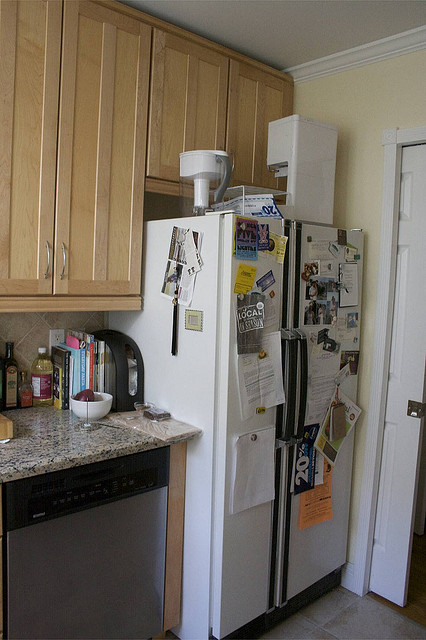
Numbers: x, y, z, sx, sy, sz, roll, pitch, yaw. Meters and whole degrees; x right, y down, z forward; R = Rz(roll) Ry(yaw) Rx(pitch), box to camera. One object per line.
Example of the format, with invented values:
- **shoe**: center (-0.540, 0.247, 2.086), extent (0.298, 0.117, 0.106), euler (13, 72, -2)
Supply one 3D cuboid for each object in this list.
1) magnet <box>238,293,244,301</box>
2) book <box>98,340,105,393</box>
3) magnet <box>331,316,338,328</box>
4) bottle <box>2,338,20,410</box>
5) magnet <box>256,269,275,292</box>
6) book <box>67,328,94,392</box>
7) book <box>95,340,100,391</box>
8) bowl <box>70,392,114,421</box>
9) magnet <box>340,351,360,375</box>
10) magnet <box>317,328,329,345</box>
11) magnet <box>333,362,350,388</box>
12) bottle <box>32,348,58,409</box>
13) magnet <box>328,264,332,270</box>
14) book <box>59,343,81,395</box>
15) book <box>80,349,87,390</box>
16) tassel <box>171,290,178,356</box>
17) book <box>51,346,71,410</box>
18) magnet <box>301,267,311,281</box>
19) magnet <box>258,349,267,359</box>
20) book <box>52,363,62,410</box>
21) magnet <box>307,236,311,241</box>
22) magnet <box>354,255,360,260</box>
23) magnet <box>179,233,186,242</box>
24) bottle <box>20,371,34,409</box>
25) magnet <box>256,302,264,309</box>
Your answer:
- **magnet**: center (0.092, -0.076, 1.679), extent (0.004, 0.021, 0.018), euler (6, -4, 35)
- **book**: center (-0.446, 0.185, 2.032), extent (0.035, 0.206, 0.013), euler (2, 7, 22)
- **magnet**: center (0.501, 0.009, 2.108), extent (0.012, 0.035, 0.038), euler (11, -31, 4)
- **bottle**: center (-0.782, 0.218, 1.986), extent (0.055, 0.263, 0.082), euler (5, 9, 43)
- **magnet**: center (0.178, -0.137, 1.760), extent (0.059, 0.044, 0.008), euler (-35, 24, -29)
- **book**: center (-0.525, 0.168, 2.026), extent (0.100, 0.214, 0.195), euler (3, 0, -26)
- **book**: center (-0.458, 0.183, 2.033), extent (0.025, 0.203, 0.011), euler (2, 7, 22)
- **bowl**: center (-0.434, 0.313, 1.873), extent (0.107, 0.074, 0.109), euler (3, 3, 0)
- **magnet**: center (0.591, 0.183, 2.225), extent (0.091, 0.100, 0.029), euler (-5, 7, -44)
- **magnet**: center (0.440, 0.062, 2.051), extent (0.023, 0.052, 0.067), euler (14, 8, 36)
- **magnet**: center (0.555, 0.236, 2.190), extent (0.023, 0.066, 0.099), euler (18, 47, 44)
- **bottle**: center (-0.689, 0.228, 2.092), extent (0.097, 0.238, 0.134), euler (-4, 7, -23)
- **magnet**: center (0.472, -0.214, 2.062), extent (0.004, 0.019, 0.017), euler (7, 5, 35)
- **book**: center (-0.563, 0.201, 2.017), extent (0.090, 0.180, 0.170), euler (6, -1, -28)
- **book**: center (-0.514, 0.189, 2.022), extent (0.018, 0.200, 0.135), euler (-1, 3, -19)
- **tassel**: center (-0.141, 0.009, 1.868), extent (0.016, 0.238, 0.039), euler (-6, 8, -38)
- **book**: center (-0.603, 0.240, 2.037), extent (0.032, 0.286, 0.218), euler (1, -1, -25)
- **magnet**: center (0.355, -0.173, 1.944), extent (0.032, 0.053, 0.012), euler (8, 5, -31)
- **magnet**: center (0.172, 0.118, 1.771), extent (0.021, 0.034, 0.009), euler (8, -17, -30)
- **book**: center (-0.624, 0.266, 2.051), extent (0.022, 0.187, 0.145), euler (-1, 7, -26)
- **magnet**: center (0.364, -0.309, 1.942), extent (0.011, 0.023, 0.020), euler (8, 10, 40)
- **magnet**: center (0.624, -0.271, 2.208), extent (0.025, 0.019, 0.006), euler (-1, 3, -39)
- **magnet**: center (-0.108, -0.294, 1.820), extent (0.020, 0.044, 0.023), euler (4, 15, 4)
- **bottle**: center (-0.742, 0.274, 2.044), extent (0.046, 0.148, 0.086), euler (0, 7, 10)
- **magnet**: center (0.158, -0.050, 1.739), extent (0.019, 0.024, 0.005), euler (3, -1, -22)
